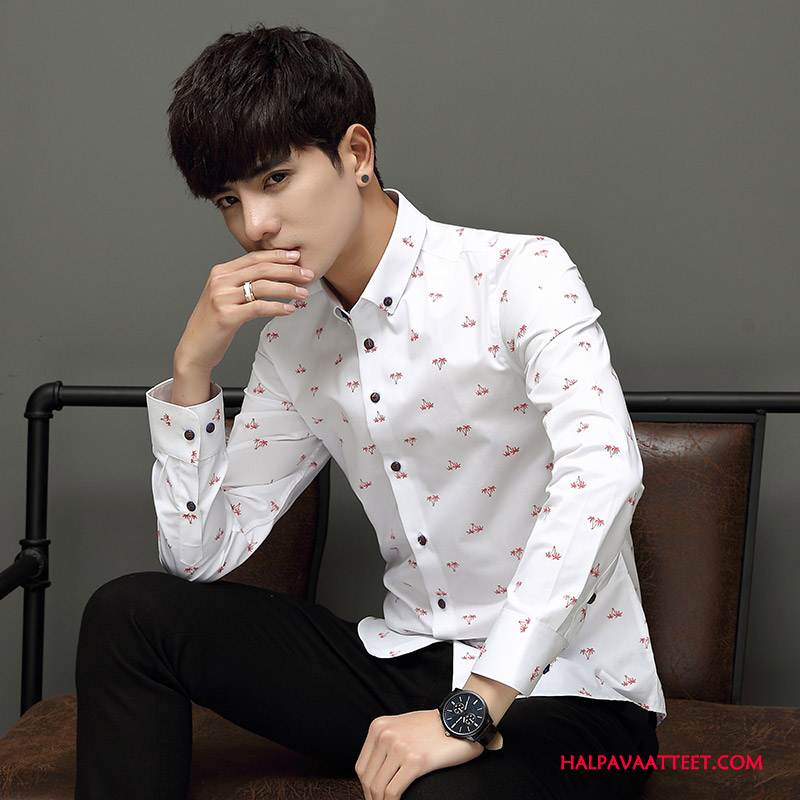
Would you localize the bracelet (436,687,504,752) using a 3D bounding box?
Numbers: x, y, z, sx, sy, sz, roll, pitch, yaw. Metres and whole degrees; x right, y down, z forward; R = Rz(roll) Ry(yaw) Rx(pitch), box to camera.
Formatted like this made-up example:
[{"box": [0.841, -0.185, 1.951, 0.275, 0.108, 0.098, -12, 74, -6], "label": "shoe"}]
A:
[{"box": [0.093, 0.396, 1.139, 0.086, 0.058, 0.081, 32, -9, 24], "label": "bracelet"}]

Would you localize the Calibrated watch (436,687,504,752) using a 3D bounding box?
[{"box": [0.094, 0.398, 1.143, 0.086, 0.058, 0.081, 32, -9, 24], "label": "Calibrated watch"}]
